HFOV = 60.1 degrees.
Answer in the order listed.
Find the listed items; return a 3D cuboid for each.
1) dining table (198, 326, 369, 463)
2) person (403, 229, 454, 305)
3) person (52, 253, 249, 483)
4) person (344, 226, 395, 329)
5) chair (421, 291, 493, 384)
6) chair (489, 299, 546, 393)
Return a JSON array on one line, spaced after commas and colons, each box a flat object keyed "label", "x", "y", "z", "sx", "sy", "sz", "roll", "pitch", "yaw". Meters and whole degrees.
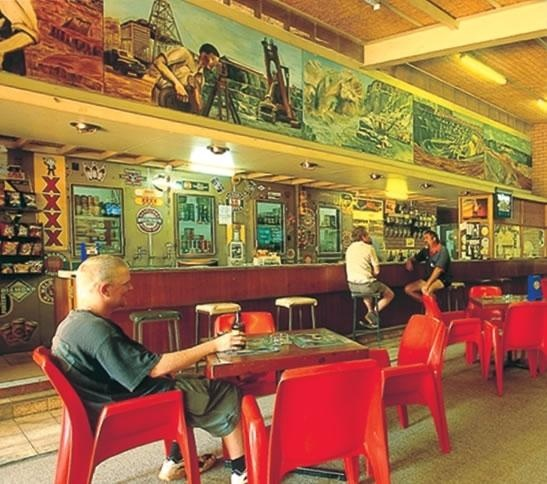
[{"label": "dining table", "x": 0.011, "y": 1.147, "z": 3.474, "sx": 1.342, "sy": 0.841, "sz": 0.723, "roll": 7, "pitch": -2, "yaw": -42}, {"label": "person", "x": 2.544, "y": 0.390, "z": 7.826, "sx": 0.681, "sy": 1.114, "sz": 1.074, "roll": 2, "pitch": 5, "yaw": 37}, {"label": "person", "x": -0.929, "y": 0.814, "z": 3.614, "sx": 1.555, "sy": 1.720, "sz": 1.178, "roll": -3, "pitch": -2, "yaw": -27}, {"label": "person", "x": 1.377, "y": 0.580, "z": 6.910, "sx": 0.685, "sy": 1.605, "sz": 1.080, "roll": -1, "pitch": 4, "yaw": 14}, {"label": "chair", "x": 1.953, "y": 1.000, "z": 5.062, "sx": 0.647, "sy": 0.763, "sz": 0.689, "roll": 0, "pitch": 3, "yaw": 24}, {"label": "chair", "x": 2.567, "y": 1.052, "z": 5.039, "sx": 0.555, "sy": 0.947, "sz": 0.974, "roll": 0, "pitch": 4, "yaw": 24}]
